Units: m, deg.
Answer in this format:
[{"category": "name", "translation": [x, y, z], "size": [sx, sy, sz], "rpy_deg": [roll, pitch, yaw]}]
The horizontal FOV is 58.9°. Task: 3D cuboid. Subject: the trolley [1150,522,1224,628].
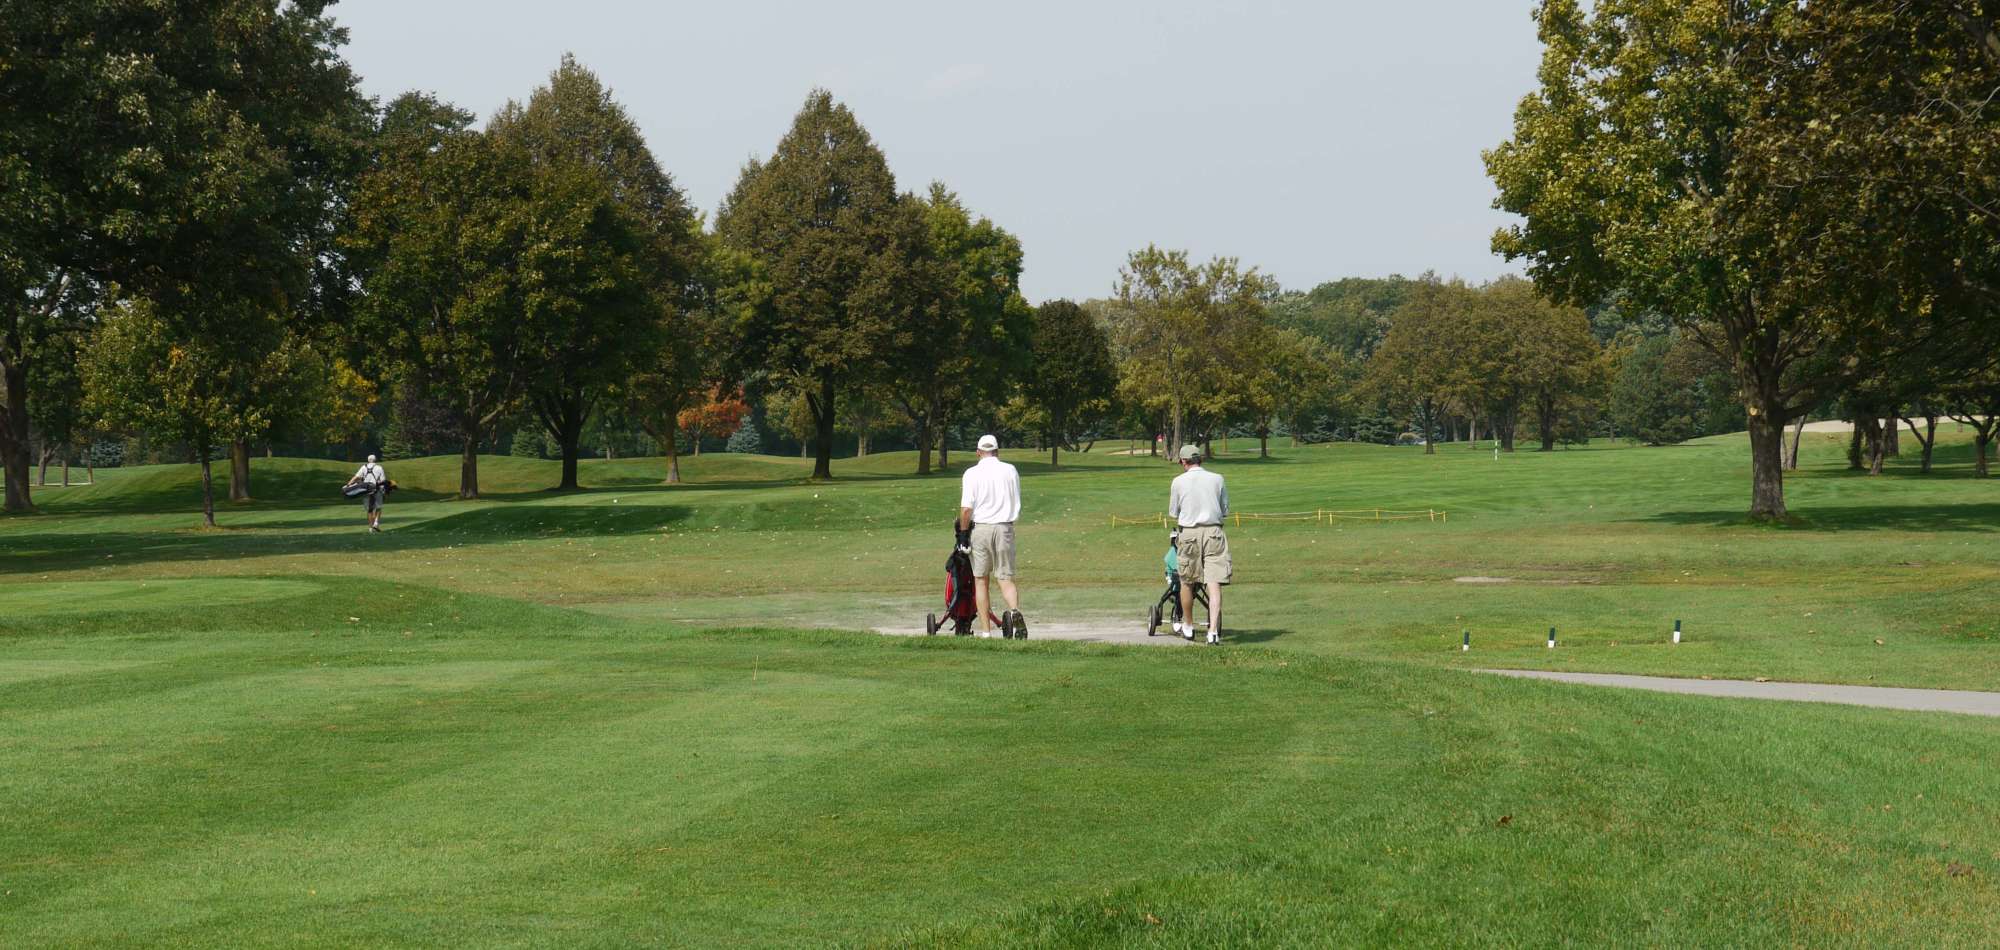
[{"category": "trolley", "translation": [6.416, 3.714, 60.541], "size": [1.662, 4.007, 2.195], "rpy_deg": [2, 29, 11]}]
